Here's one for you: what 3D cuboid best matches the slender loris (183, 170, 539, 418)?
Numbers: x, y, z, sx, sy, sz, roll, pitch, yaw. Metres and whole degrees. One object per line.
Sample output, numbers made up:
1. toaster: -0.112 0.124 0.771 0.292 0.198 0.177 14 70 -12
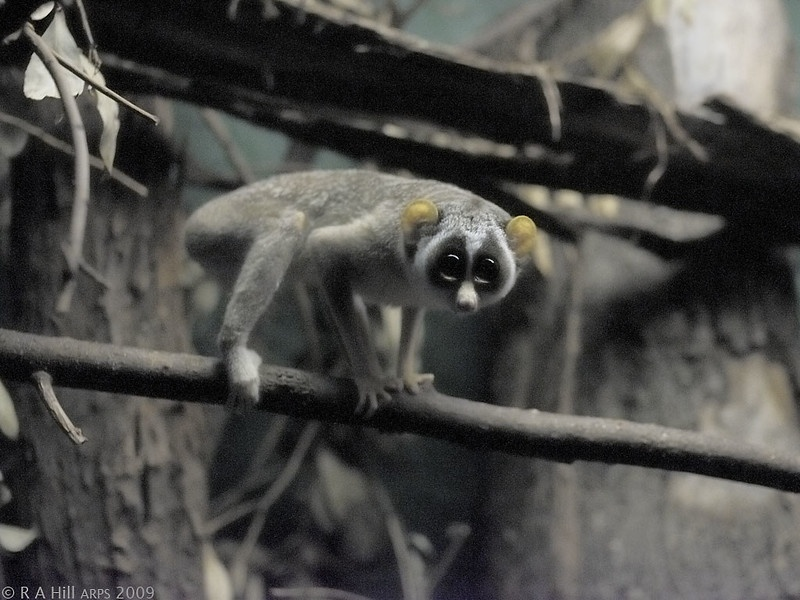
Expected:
1. slender loris: -0.162 -0.145 6.021 1.313 0.822 0.945 18 -74 -10
